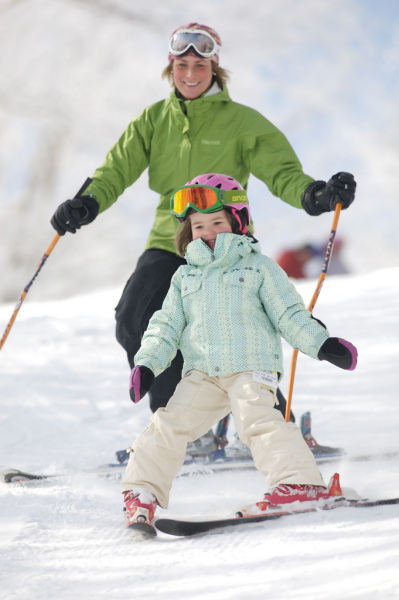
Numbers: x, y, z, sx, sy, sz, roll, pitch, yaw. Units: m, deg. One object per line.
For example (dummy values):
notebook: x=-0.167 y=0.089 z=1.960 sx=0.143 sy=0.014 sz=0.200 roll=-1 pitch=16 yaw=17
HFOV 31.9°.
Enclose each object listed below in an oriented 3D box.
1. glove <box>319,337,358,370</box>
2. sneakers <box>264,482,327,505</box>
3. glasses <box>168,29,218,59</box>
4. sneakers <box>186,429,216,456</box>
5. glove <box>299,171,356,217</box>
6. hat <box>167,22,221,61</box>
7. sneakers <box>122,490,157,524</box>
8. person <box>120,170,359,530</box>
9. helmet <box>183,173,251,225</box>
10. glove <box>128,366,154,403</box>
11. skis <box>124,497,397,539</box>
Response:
glove: x=0.501 y=0.185 z=2.457 sx=0.155 sy=0.081 sz=0.061 roll=23 pitch=22 yaw=34
sneakers: x=0.289 y=0.602 z=2.152 sx=0.220 sy=0.082 sz=0.069 roll=4 pitch=-21 yaw=-18
glasses: x=-0.030 y=-1.174 z=3.223 sx=0.204 sy=0.094 sz=0.167 roll=5 pitch=-28 yaw=4
sneakers: x=0.009 y=0.741 z=3.529 sx=0.147 sy=0.050 sz=0.136 roll=-18 pitch=26 yaw=27
glove: x=0.497 y=-0.413 z=2.743 sx=0.207 sy=0.143 sz=0.104 roll=7 pitch=-24 yaw=49
hat: x=-0.022 y=-1.180 z=3.240 sx=0.197 sy=0.224 sz=0.118 roll=4 pitch=42 yaw=8
sneakers: x=-0.190 y=0.643 z=2.170 sx=0.057 sy=0.070 sz=0.157 roll=2 pitch=3 yaw=-5
person: x=0.102 y=0.208 z=2.456 sx=0.827 sy=0.968 sz=0.688 roll=-5 pitch=-5 yaw=-8
helmet: x=0.101 y=-0.407 z=2.818 sx=0.255 sy=0.210 sz=0.206 roll=-16 pitch=9 yaw=-18
glove: x=-0.210 y=0.289 z=2.453 sx=0.077 sy=0.130 sz=0.054 roll=2 pitch=-36 yaw=40
skis: x=0.200 y=0.648 z=2.094 sx=0.803 sy=0.033 sz=0.201 roll=-4 pitch=-4 yaw=-10
